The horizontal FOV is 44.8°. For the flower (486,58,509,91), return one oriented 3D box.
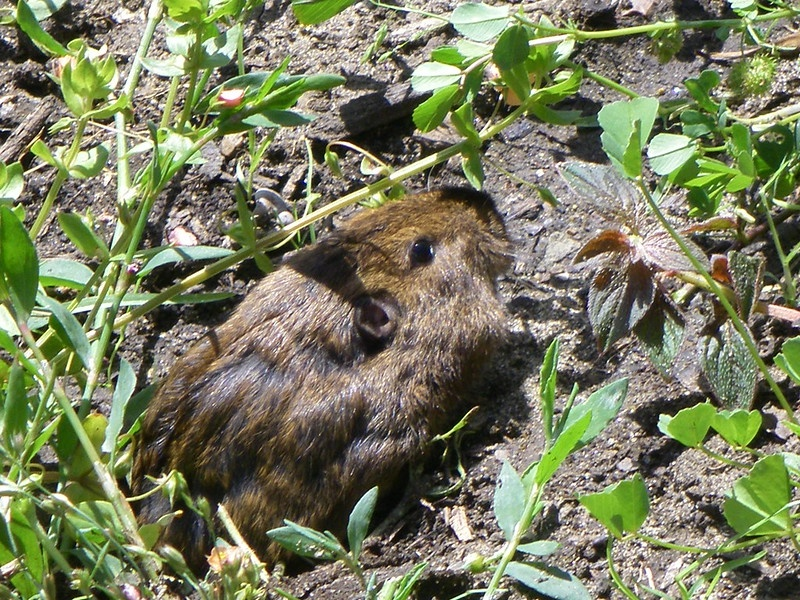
[{"bbox_3d":[0.463,-1.080,4.680,0.135,0.048,0.164,-1,80,-23],"label":"flower"}]

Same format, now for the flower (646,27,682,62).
[{"bbox_3d":[1.263,-1.255,4.670,0.047,0.164,0.177,-38,99,-50],"label":"flower"}]

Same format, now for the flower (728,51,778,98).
[{"bbox_3d":[1.619,-1.033,4.456,0.114,0.186,0.199,54,18,-14],"label":"flower"}]
